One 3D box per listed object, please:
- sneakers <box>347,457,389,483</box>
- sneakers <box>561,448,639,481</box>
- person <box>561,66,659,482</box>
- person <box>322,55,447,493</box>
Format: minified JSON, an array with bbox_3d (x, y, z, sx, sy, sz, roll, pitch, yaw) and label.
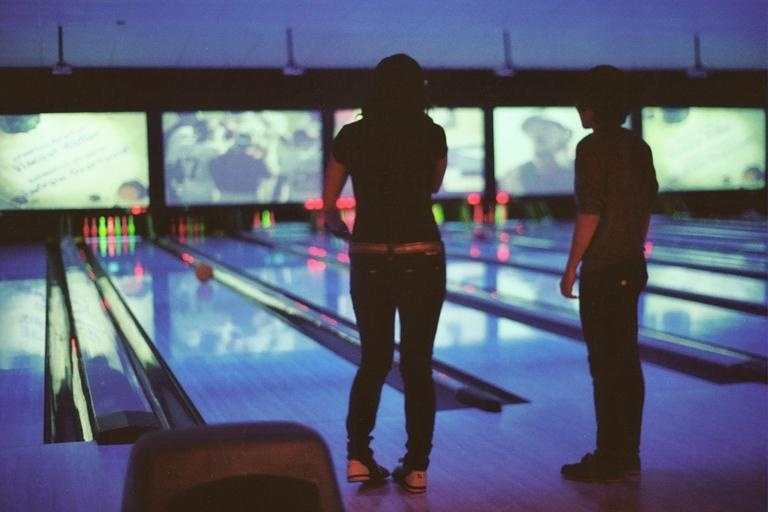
[{"bbox_3d":[-0.057,0.733,2.401,0.167,0.068,0.067,1,-3,-44],"label":"sneakers"},{"bbox_3d":[0.748,0.737,2.436,0.266,0.112,0.102,0,-7,3],"label":"sneakers"},{"bbox_3d":[0.767,0.065,2.370,0.280,1.407,0.285,3,11,20],"label":"person"},{"bbox_3d":[0.007,0.055,2.364,0.418,1.450,0.293,-1,10,-7],"label":"person"}]
